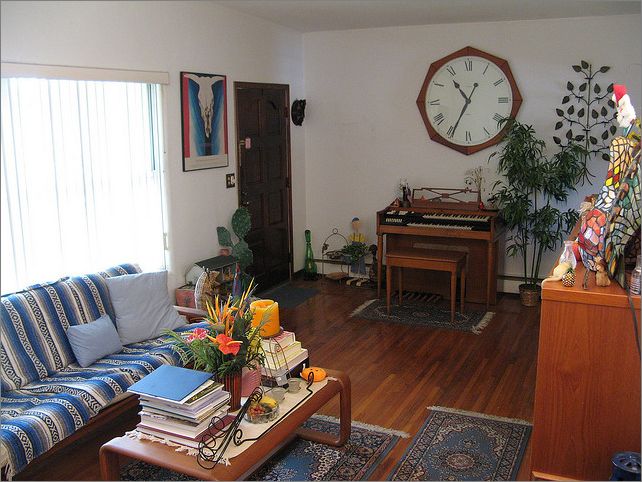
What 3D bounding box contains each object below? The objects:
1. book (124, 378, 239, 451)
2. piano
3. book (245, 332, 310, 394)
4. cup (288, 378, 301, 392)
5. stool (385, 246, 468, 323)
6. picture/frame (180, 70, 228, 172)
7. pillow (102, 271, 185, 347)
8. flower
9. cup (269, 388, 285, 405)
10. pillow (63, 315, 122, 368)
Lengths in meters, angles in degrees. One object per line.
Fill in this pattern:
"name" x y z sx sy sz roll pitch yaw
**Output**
"book" -0.767 0.869 2.545 0.334 0.174 0.359 6 13 26
"piano" 1.538 0.062 6.125 1.399 1.499 0.776 5 12 27
"book" -0.287 0.803 3.116 0.294 0.075 0.305 -13 12 43
"cup" -0.177 0.912 2.974 0.065 0.050 0.069 1 -1 0
"stool" 1.310 0.488 5.795 0.955 0.757 0.848 4 14 19
"picture/frame" -1.331 -1.363 5.358 0.033 1.102 0.782 11 19 28
"pillow" -1.513 0.576 4.060 0.227 0.562 0.598 5 10 33
"flower" -0.590 0.636 2.768 0.561 0.473 0.607 -22 21 -40
"cup" -0.274 0.959 2.896 0.067 0.061 0.078 0 -2 4
"pillow" -1.775 0.787 3.666 0.156 0.317 0.431 -5 3 18
